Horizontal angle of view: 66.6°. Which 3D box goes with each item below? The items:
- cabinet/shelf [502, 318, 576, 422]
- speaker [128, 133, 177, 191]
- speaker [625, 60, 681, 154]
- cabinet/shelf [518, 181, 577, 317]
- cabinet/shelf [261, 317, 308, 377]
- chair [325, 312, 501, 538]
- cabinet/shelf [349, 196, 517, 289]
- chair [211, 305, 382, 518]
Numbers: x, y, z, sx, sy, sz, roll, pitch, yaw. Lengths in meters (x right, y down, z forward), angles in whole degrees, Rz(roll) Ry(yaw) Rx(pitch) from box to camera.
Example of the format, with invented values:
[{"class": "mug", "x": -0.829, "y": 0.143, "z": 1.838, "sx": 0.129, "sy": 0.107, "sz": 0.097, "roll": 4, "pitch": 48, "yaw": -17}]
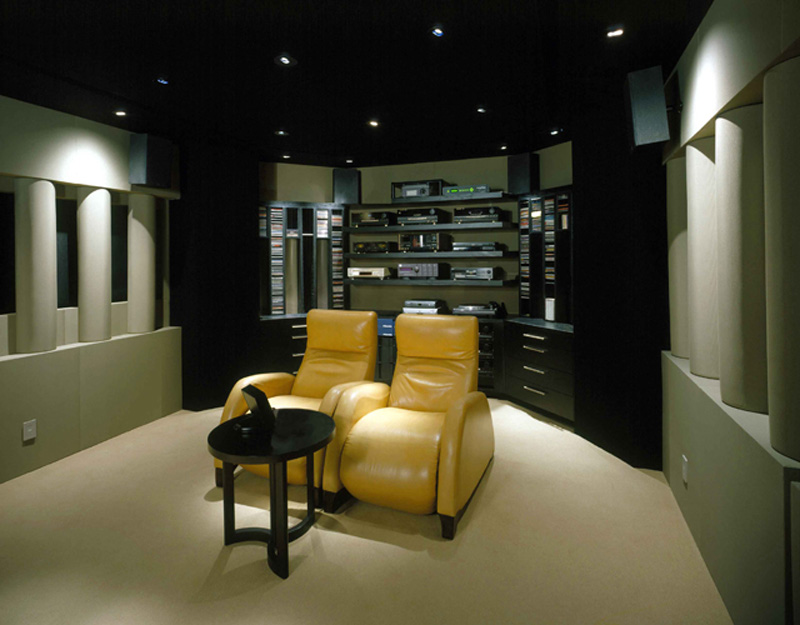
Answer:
[{"class": "cabinet/shelf", "x": 1.419, "y": 0.525, "z": 5.808, "sx": 0.449, "sy": 0.866, "sz": 0.860, "roll": -13, "pitch": 16, "yaw": -36}, {"class": "speaker", "x": -2.187, "y": -1.312, "z": 5.308, "sx": 0.166, "sy": 0.493, "sz": 0.499, "roll": 4, "pitch": 5, "yaw": 19}, {"class": "speaker", "x": 1.585, "y": -1.317, "z": 3.899, "sx": 0.260, "sy": 0.503, "sz": 0.108, "roll": 3, "pitch": 8, "yaw": 22}, {"class": "cabinet/shelf", "x": 1.349, "y": -0.557, "z": 5.982, "sx": 0.691, "sy": 1.342, "sz": 0.354, "roll": 5, "pitch": 15, "yaw": 34}, {"class": "cabinet/shelf", "x": -1.191, "y": 0.351, "z": 6.107, "sx": 0.274, "sy": 0.558, "sz": 0.554, "roll": -1, "pitch": 1, "yaw": 33}, {"class": "chair", "x": 0.085, "y": 0.663, "z": 4.242, "sx": 1.044, "sy": 1.339, "sz": 1.202, "roll": 2, "pitch": 4, "yaw": 7}, {"class": "cabinet/shelf", "x": 0.364, "y": -0.772, "z": 6.695, "sx": 1.909, "sy": 0.990, "sz": 0.592, "roll": 3, "pitch": 8, "yaw": 21}, {"class": "chair", "x": -0.647, "y": 0.628, "z": 4.373, "sx": 1.010, "sy": 1.298, "sz": 1.087, "roll": 4, "pitch": -2, "yaw": 37}]
